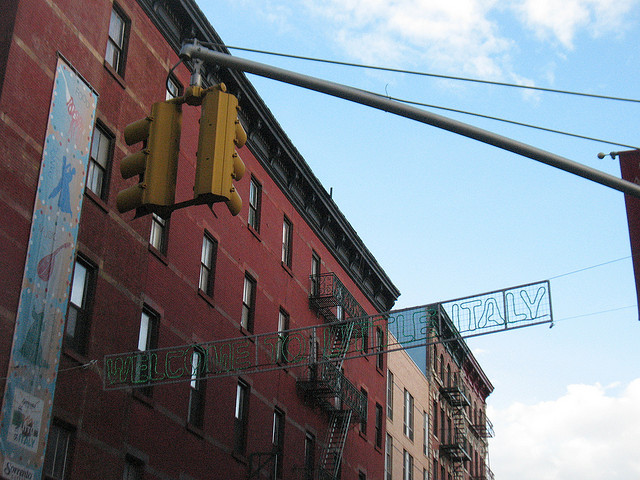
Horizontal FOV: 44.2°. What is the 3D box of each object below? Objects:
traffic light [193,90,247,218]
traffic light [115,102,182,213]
[{"bbox_3d":[-1.449,-1.161,11.375,0.553,2.007,0.567,3,-13,4],"label":"traffic light"},{"bbox_3d":[-2.461,-1.205,11.415,0.988,1.697,0.544,-16,-32,20],"label":"traffic light"}]
